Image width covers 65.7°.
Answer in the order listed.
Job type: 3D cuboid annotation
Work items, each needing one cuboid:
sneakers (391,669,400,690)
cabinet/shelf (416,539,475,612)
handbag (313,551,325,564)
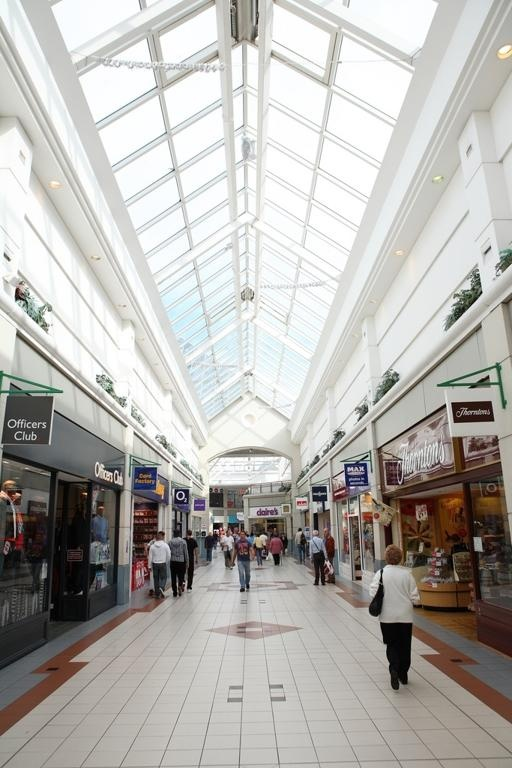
[{"bbox_3d":[1.136,2.447,3.243,0.059,0.211,0.076,-4,-8,15],"label":"sneakers"},{"bbox_3d":[3.602,3.735,7.669,0.890,1.153,1.271,-7,-21,17],"label":"cabinet/shelf"},{"bbox_3d":[1.830,4.998,11.381,0.308,0.301,0.521,-1,-47,7],"label":"handbag"}]
